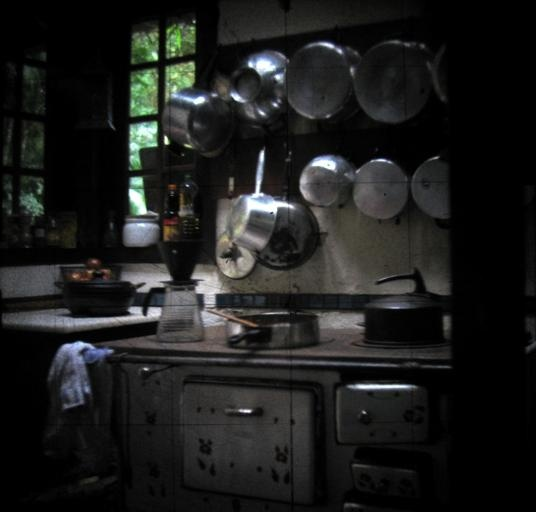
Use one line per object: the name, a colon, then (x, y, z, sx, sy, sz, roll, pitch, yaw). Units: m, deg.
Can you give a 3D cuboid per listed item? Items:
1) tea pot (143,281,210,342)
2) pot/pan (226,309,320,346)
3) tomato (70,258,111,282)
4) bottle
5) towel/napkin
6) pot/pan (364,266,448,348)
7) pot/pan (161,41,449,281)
tea pot: (-0.283, 0.168, 1.772, 0.181, 0.183, 0.126, 0, -5, 3)
pot/pan: (0.017, 0.204, 1.667, 0.261, 0.069, 0.207, 1, 0, -3)
tomato: (-0.596, 0.057, 2.015, 0.089, 0.039, 0.090, -16, 37, -26)
bottle: (-0.737, -0.086, 1.957, 0.231, 0.114, 0.054, 1, 0, -23)
towel/napkin: (-0.579, 0.348, 1.766, 0.141, 0.195, 0.057, -5, -7, 33)
pot/pan: (0.381, 0.143, 1.688, 0.218, 0.220, 0.203, -1, -5, 24)
pot/pan: (0.171, -0.432, 1.878, 0.829, 0.568, 0.204, 3, -2, 21)
